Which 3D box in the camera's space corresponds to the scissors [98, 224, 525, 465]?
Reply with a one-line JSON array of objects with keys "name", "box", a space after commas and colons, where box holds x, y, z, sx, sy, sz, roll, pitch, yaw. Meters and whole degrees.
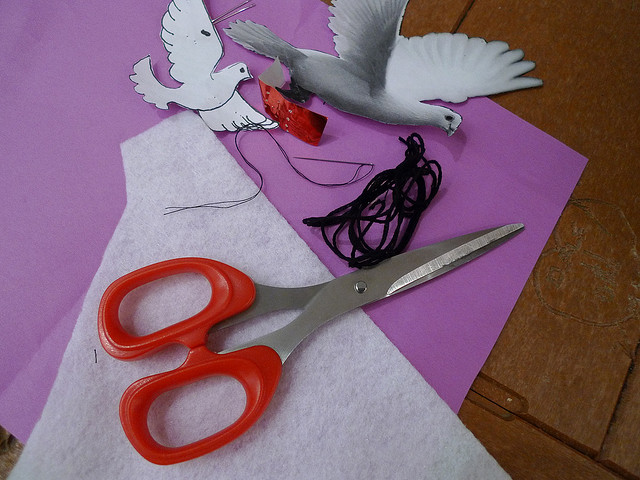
[{"name": "scissors", "box": [-0.020, 0.107, 1.194, 0.692, 0.082, 0.349, -19, 107, -11]}]
